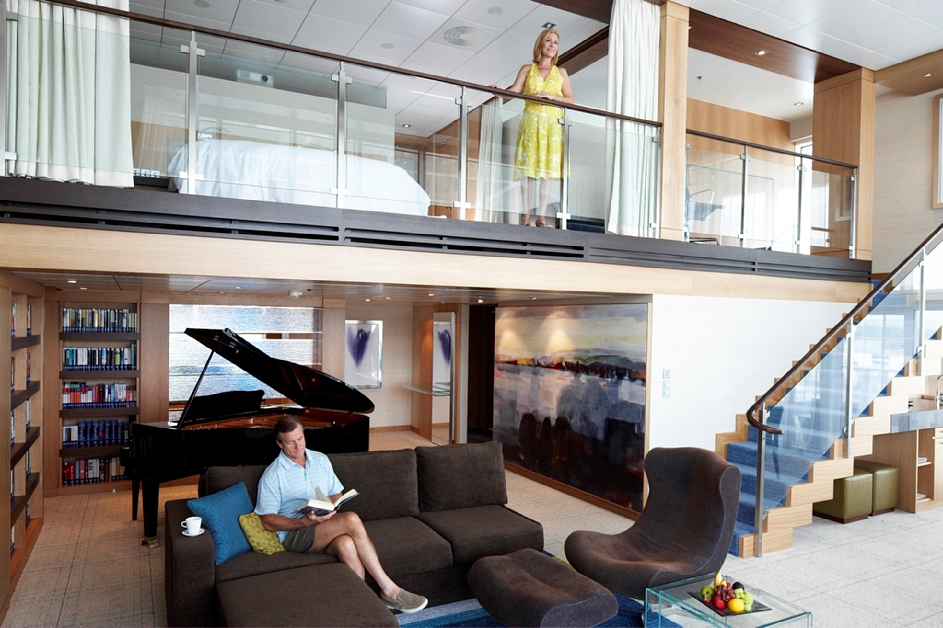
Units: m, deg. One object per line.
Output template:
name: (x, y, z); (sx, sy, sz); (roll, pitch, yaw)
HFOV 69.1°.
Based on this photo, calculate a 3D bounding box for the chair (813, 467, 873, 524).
chair: (4.913, 2.337, 9.151); (0.709, 0.646, 0.698); (-1, 0, -36)

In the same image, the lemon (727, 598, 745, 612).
lemon: (2.333, 2.589, 6.064); (0.129, 0.122, 0.118); (5, -15, 16)

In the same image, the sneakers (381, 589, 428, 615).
sneakers: (-0.637, 2.772, 6.584); (0.430, 0.162, 0.231); (1, 0, -6)

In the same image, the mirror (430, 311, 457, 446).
mirror: (-0.448, 1.113, 12.096); (0.343, 2.288, 0.869); (3, -6, -21)

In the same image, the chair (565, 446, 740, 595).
chair: (1.872, 2.167, 7.089); (1.565, 1.372, 1.214); (0, 0, -31)

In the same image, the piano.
piano: (-2.657, 1.573, 9.429); (3.842, 2.564, 2.668); (8, -12, -40)

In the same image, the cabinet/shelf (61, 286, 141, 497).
cabinet/shelf: (-5.188, 1.087, 9.593); (1.173, 2.559, 0.375); (0, -2, -6)

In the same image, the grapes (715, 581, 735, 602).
grapes: (2.279, 2.499, 6.164); (0.121, 0.072, 0.151); (1, 6, -36)

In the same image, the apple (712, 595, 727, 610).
apple: (2.209, 2.583, 6.124); (0.094, 0.084, 0.091); (3, 6, 4)

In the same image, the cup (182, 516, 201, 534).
cup: (-2.619, 1.985, 6.429); (0.165, 0.119, 0.127); (0, -1, -3)

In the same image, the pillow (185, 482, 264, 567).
pillow: (-2.375, 2.028, 6.550); (0.202, 0.615, 0.666); (-31, -5, 24)

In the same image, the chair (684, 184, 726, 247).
chair: (3.002, -1.291, 9.048); (0.661, 0.832, 0.755); (-1, 5, -6)

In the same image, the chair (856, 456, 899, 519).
chair: (5.420, 2.378, 9.437); (0.695, 0.643, 0.674); (-1, -1, -16)

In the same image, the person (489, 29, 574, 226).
person: (0.842, -2.234, 8.250); (0.737, 2.491, 0.681); (1, -6, 1)

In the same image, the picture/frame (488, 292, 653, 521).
picture/frame: (1.313, 1.277, 10.126); (0.064, 2.705, 3.376); (0, 0, -32)

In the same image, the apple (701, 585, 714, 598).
apple: (2.128, 2.533, 6.235); (0.057, 0.107, 0.123); (3, -6, -21)
